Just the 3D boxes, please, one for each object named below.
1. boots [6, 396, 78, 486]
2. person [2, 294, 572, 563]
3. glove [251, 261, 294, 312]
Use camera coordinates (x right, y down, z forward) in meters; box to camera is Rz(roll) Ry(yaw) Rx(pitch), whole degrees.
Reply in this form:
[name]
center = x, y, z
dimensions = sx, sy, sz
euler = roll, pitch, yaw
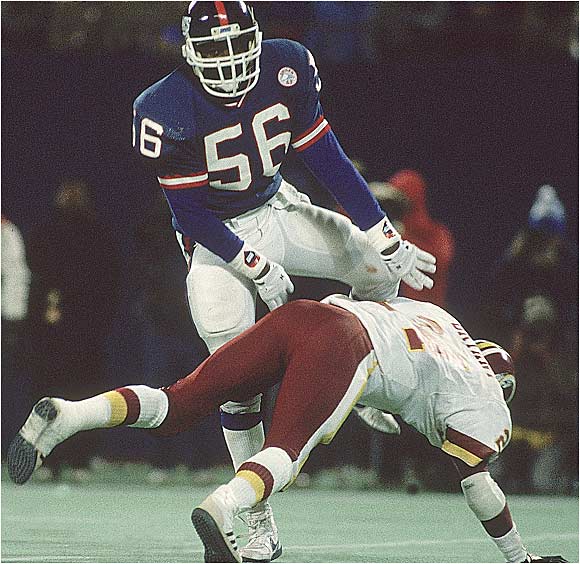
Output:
[boots]
center = -0.716, 0.444, 2.634
dimensions = 0.106, 0.318, 0.136
euler = 40, 10, 28
[person]
center = -0.025, 0.449, 2.675
dimensions = 0.818, 0.588, 1.361
euler = 22, 15, 41
[glove]
center = -0.045, 0.027, 3.212
dimensions = 0.054, 0.172, 0.138
euler = 7, 56, 40
